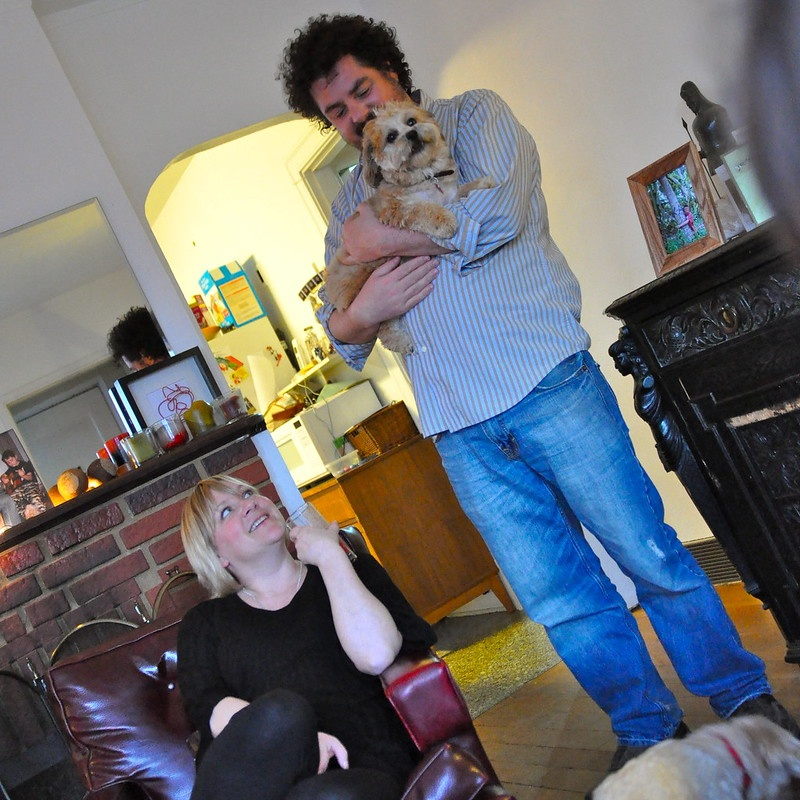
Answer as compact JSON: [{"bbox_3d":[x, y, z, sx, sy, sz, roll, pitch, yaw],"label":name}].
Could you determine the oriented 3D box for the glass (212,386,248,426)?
[{"bbox_3d":[-0.619,0.020,2.500,0.129,0.097,0.114,-20,-3,-5],"label":"glass"}]

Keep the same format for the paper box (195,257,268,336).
[{"bbox_3d":[-1.181,-0.728,4.707,0.258,0.421,0.246,-31,12,-32],"label":"paper box"}]

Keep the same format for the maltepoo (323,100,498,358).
[{"bbox_3d":[-0.033,-0.485,1.798,0.343,0.331,0.603,-39,1,-39],"label":"maltepoo"}]

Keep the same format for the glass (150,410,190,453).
[{"bbox_3d":[-0.807,0.109,2.451,0.114,0.126,0.120,-17,4,16],"label":"glass"}]

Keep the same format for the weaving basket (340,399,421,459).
[{"bbox_3d":[-0.111,0.173,3.756,0.327,0.201,0.328,-28,2,-29],"label":"weaving basket"}]

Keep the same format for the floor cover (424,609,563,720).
[{"bbox_3d":[0.434,1.135,2.951,0.483,0.005,0.481,-32,14,-16],"label":"floor cover"}]

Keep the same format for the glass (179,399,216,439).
[{"bbox_3d":[-0.721,0.063,2.424,0.116,0.122,0.117,-29,2,-21],"label":"glass"}]

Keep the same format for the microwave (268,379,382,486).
[{"bbox_3d":[-0.499,0.281,4.265,0.466,0.406,0.660,-21,-7,-30],"label":"microwave"}]

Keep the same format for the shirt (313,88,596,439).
[{"bbox_3d":[0.148,-0.346,1.583,0.441,0.736,0.340,-21,4,33],"label":"shirt"}]

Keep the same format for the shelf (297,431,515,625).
[{"bbox_3d":[0.296,0.707,3.835,0.689,0.972,0.756,-34,-8,32],"label":"shelf"}]

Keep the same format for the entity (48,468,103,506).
[{"bbox_3d":[-1.114,0.299,2.332,0.102,0.085,0.086,-4,51,15],"label":"entity"}]

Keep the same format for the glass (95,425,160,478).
[{"bbox_3d":[-0.953,0.183,2.372,0.165,0.140,0.189,-26,2,-19],"label":"glass"}]

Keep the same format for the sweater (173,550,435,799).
[{"bbox_3d":[-0.242,0.511,1.610,0.613,0.570,0.332,-7,-18,-8],"label":"sweater"}]

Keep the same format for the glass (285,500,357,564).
[{"bbox_3d":[-0.180,0.301,1.674,0.104,0.173,0.178,-40,0,-18],"label":"glass"}]
